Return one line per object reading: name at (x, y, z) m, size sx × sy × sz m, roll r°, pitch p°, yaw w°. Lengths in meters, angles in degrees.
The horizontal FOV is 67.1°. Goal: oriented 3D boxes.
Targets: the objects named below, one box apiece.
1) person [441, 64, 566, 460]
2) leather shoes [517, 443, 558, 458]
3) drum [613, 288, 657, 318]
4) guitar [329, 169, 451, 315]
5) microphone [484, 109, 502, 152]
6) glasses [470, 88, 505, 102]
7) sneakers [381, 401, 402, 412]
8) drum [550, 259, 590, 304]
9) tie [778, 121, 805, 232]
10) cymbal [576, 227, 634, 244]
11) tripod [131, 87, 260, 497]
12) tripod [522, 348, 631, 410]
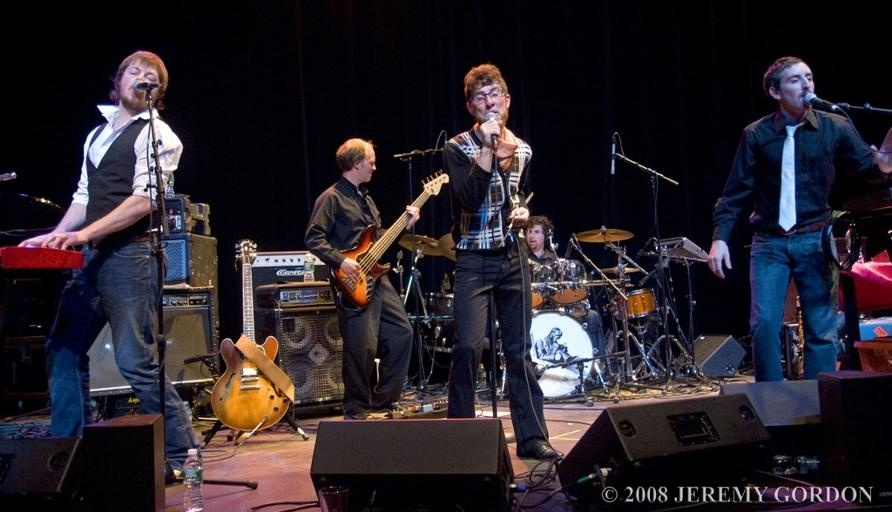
person at (0.408, 0.040, 5.563) m, size 0.875 × 3.260 × 0.719 m, roll 0°, pitch -6°, yaw -12°
leather shoes at (0.755, 1.607, 5.553) m, size 0.378 × 0.135 × 0.096 m, roll -5°, pitch -7°, yaw 32°
drum at (2.339, 0.591, 8.365) m, size 0.520 × 0.364 × 0.358 m, roll -1°, pitch -6°, yaw -1°
guitar at (-0.638, -0.138, 7.009) m, size 1.103 × 1.355 × 0.349 m, roll 4°, pitch -8°, yaw -38°
microphone at (0.360, -1.004, 5.391) m, size 0.113 × 0.324 × 0.189 m, roll -2°, pitch -6°, yaw 5°
glasses at (0.325, -1.311, 5.486) m, size 0.236 × 0.122 × 0.041 m, roll -2°, pitch -6°, yaw 4°
sneakers at (-0.582, 1.602, 7.192) m, size 0.221 × 0.094 × 0.078 m, roll -2°, pitch -1°, yaw -30°
drum at (1.495, 0.293, 8.268) m, size 0.534 × 0.550 × 0.545 m, roll -2°, pitch -26°, yaw 6°
tie at (2.847, -0.649, 5.617) m, size 0.209 × 0.887 × 0.052 m, roll -4°, pitch -7°, yaw 24°
cymbal at (1.976, -0.251, 8.616) m, size 0.403 × 0.079 × 0.402 m, roll -6°, pitch -7°, yaw 30°
tripod at (-2.130, 0.209, 5.379) m, size 0.680 × 3.244 × 0.557 m, roll -4°, pitch -6°, yaw 21°
tripod at (1.388, 1.503, 8.170) m, size 1.579 × 0.602 × 0.510 m, roll -12°, pitch -3°, yaw 16°
